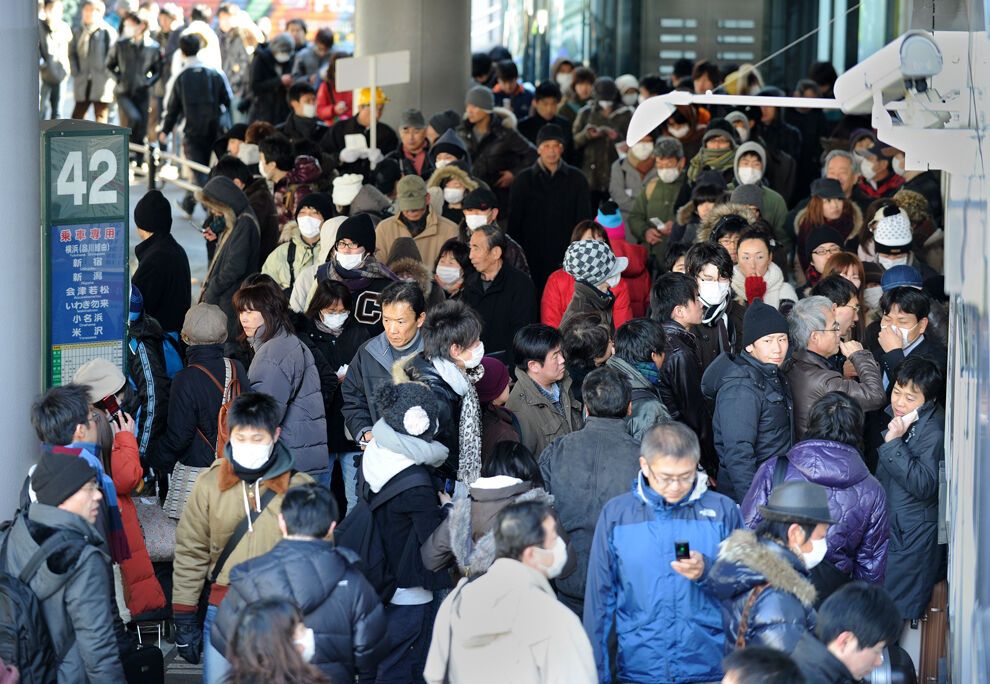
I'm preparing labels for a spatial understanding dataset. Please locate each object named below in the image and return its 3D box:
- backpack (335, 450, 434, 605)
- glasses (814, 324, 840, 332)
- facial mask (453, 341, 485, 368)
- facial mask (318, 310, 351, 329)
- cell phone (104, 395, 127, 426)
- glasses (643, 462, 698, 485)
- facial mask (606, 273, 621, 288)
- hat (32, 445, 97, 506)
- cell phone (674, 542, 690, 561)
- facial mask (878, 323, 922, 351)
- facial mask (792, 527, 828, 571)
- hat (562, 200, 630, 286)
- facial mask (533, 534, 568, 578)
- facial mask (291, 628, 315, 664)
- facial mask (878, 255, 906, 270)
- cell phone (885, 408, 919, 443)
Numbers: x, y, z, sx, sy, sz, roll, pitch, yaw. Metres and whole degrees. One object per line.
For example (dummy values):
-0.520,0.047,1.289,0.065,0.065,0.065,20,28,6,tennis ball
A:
-0.641,1.150,9.822,0.421,0.805,0.712,-21,17,-31,backpack
2.293,-0.094,11.077,0.099,0.034,0.104,-2,3,3,glasses
-0.170,0.087,10.630,0.162,0.116,0.157,-19,8,-1,facial mask
-1.173,-0.164,11.857,0.137,0.097,0.157,-4,26,-16,facial mask
-2.567,0.464,10.938,0.112,0.237,0.028,-24,-3,-33,cell phone
1.007,0.760,9.356,0.274,0.120,0.096,-1,6,7,glasses
0.911,-0.464,12.407,0.031,0.093,0.084,32,-20,-22,facial mask
-2.554,0.743,9.613,0.279,0.344,0.352,-2,14,-8,hat
1.079,1.203,9.314,0.094,0.188,0.018,0,19,6,cell phone
2.850,-0.043,11.473,0.193,0.154,0.231,5,-16,26,facial mask
1.795,1.184,9.207,0.174,0.161,0.163,-7,-2,-2,facial mask
0.746,-0.725,12.275,0.333,0.630,0.345,1,16,12,hat
0.334,1.215,9.005,0.195,0.137,0.182,-30,12,9,facial mask
-1.032,1.623,8.772,0.078,0.237,0.154,6,2,-44,facial mask
3.070,-0.605,12.539,0.120,0.083,0.142,0,24,10,facial mask
2.657,0.544,10.641,0.064,0.215,0.168,30,23,-25,cell phone
